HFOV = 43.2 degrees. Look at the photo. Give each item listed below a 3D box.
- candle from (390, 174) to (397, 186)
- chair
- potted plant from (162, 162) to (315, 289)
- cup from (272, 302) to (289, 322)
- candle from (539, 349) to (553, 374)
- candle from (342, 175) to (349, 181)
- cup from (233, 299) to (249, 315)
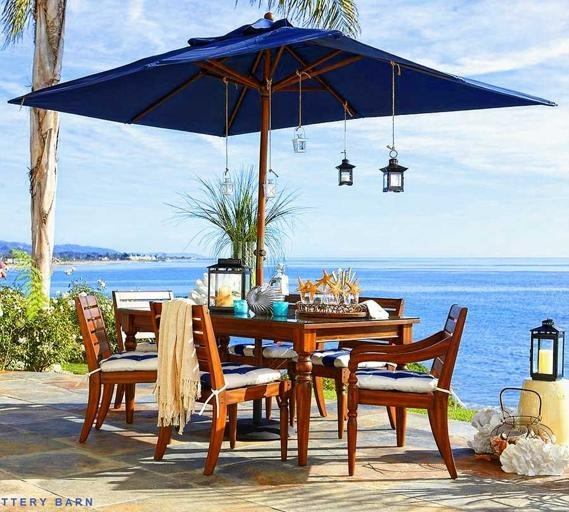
[{"bbox_3d":[0.779,-0.551,5.162,0.047,0.091,0.019,1,0,-2],"label":"candle"},{"bbox_3d":[-0.137,0.764,4.946,2.526,1.032,1.956,1,0,7],"label":"chair"},{"bbox_3d":[-0.501,-0.337,6.749,1.145,1.012,1.173,0,-2,4],"label":"potted plant"},{"bbox_3d":[-0.033,0.355,4.725,0.087,0.088,0.089,2,4,0],"label":"cup"},{"bbox_3d":[1.660,0.666,4.574,0.087,0.160,0.045,1,0,18],"label":"candle"},{"bbox_3d":[0.486,-0.629,5.745,0.044,0.050,0.046,2,6,3],"label":"candle"},{"bbox_3d":[-0.304,0.344,4.895,0.088,0.094,0.083,2,2,0],"label":"cup"}]
